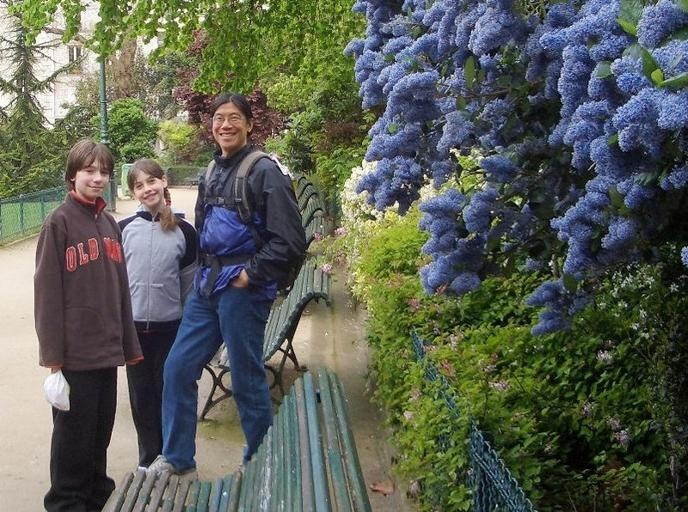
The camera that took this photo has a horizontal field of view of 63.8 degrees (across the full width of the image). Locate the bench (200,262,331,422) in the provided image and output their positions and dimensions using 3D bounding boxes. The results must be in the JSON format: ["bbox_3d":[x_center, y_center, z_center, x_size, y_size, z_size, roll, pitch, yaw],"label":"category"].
[{"bbox_3d":[-0.741,0.600,5.263,1.219,1.077,2.099,1,7,1],"label":"bench"}]

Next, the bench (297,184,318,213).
[{"bbox_3d":[-0.516,-0.726,8.117,0.216,0.175,0.961,-2,14,-6],"label":"bench"}]

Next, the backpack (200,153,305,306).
[{"bbox_3d":[-0.690,-0.199,4.021,0.838,1.061,0.409,-1,-3,4],"label":"backpack"}]

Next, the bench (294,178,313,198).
[{"bbox_3d":[-0.641,-0.970,9.069,0.235,0.300,1.255,-6,9,-5],"label":"bench"}]
